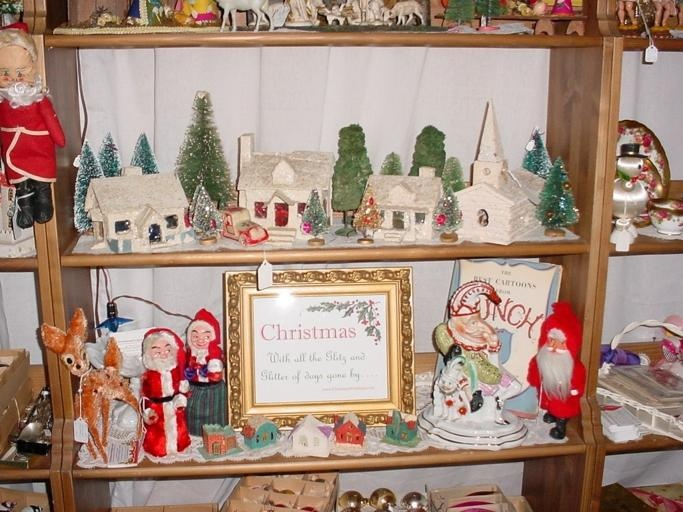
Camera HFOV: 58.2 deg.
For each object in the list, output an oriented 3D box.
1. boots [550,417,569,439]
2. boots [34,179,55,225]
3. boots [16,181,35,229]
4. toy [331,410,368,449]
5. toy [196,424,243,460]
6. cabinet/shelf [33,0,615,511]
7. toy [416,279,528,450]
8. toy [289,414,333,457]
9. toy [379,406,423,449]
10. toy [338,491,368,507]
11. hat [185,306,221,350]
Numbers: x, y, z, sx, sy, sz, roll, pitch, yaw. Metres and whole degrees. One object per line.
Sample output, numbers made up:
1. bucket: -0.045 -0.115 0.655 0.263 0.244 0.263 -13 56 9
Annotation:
1. boots: 0.724 0.569 2.046 0.041 0.083 0.083 6 4 26
2. boots: -0.871 -0.158 1.799 0.041 0.121 0.078 -5 -10 -31
3. boots: -0.914 -0.148 1.784 0.045 0.144 0.097 -4 -6 -33
4. toy: 0.030 0.586 2.068 0.089 0.083 0.091 0 3 6
5. toy: -0.389 0.603 1.981 0.109 0.074 0.108 0 14 -18
6. cabinet/shelf: -0.052 -0.059 2.058 1.566 1.664 0.634 -2 19 -5
7. toy: 0.412 0.341 2.223 0.462 0.636 0.461 0 4 -7
8. toy: -0.104 0.596 2.045 0.107 0.084 0.113 0 9 3
9. toy: 0.205 0.559 2.088 0.155 0.145 0.093 -1 -5 20
10. toy: 0.041 0.955 2.398 0.076 0.063 0.063 7 54 17
11. hat: -0.454 0.240 2.081 0.096 0.138 0.045 -6 1 -11
